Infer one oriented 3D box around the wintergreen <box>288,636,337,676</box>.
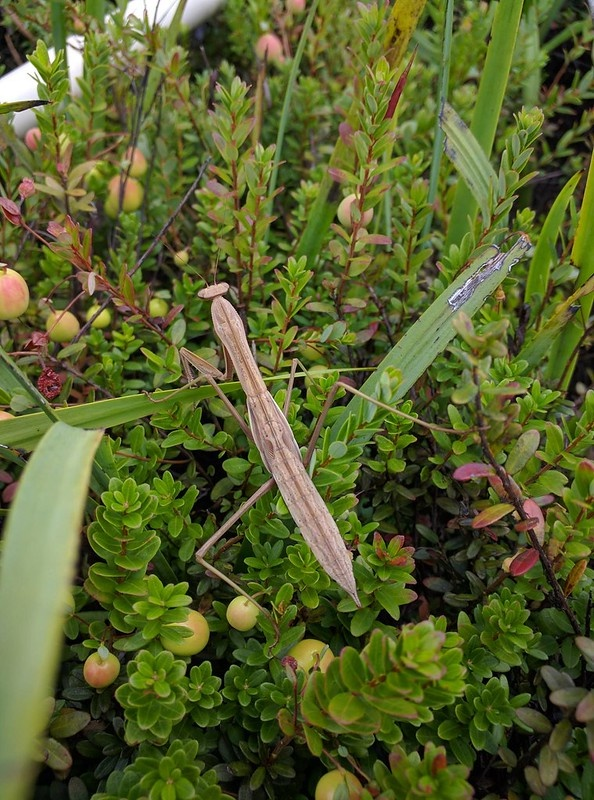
[{"bbox_3d":[0.021,0.273,0.754,0.046,0.024,0.046,-16,21,0],"label":"wintergreen"}]
